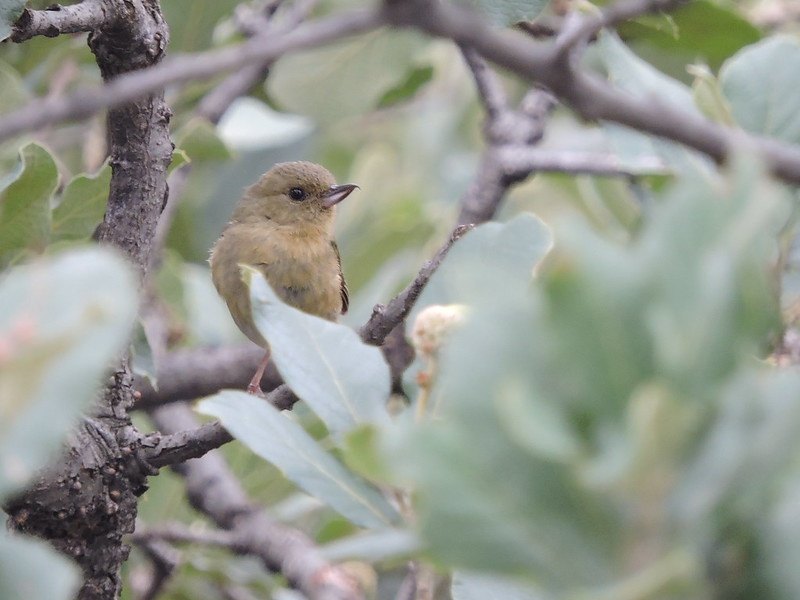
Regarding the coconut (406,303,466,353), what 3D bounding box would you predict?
[{"bbox_3d":[0.055,0.039,1.501,0.080,0.071,0.087,3,16,8],"label":"coconut"}]
